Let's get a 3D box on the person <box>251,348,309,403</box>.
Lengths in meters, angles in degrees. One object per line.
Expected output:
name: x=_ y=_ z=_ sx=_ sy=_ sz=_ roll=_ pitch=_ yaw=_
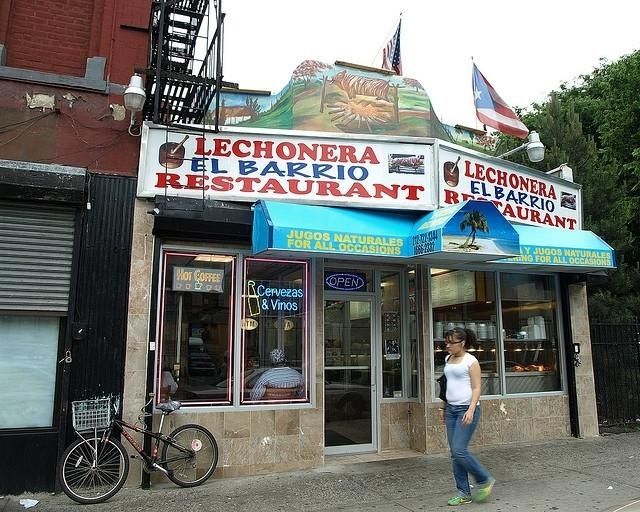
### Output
person: x=-0.701 y=1.909 z=9.375 sx=0.719 sy=0.866 sz=0.317 roll=5 pitch=-11 yaw=-21

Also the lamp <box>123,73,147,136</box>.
lamp: x=-3.002 y=-2.510 z=9.169 sx=0.336 sy=1.112 sz=0.716 roll=0 pitch=-3 yaw=-19

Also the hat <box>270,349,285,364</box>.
hat: x=-0.716 y=1.632 z=9.416 sx=0.248 sy=0.227 sz=0.063 roll=-7 pitch=2 yaw=-25

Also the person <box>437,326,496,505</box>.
person: x=1.897 y=2.109 z=7.603 sx=0.510 sy=2.291 sz=0.613 roll=2 pitch=-3 yaw=-42

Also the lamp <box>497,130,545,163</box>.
lamp: x=3.982 y=-2.174 z=11.417 sx=0.323 sy=0.497 sz=1.055 roll=-13 pitch=9 yaw=-42

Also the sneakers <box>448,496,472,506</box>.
sneakers: x=1.811 y=3.182 z=7.500 sx=0.334 sy=0.128 sz=0.112 roll=5 pitch=-13 yaw=-11
